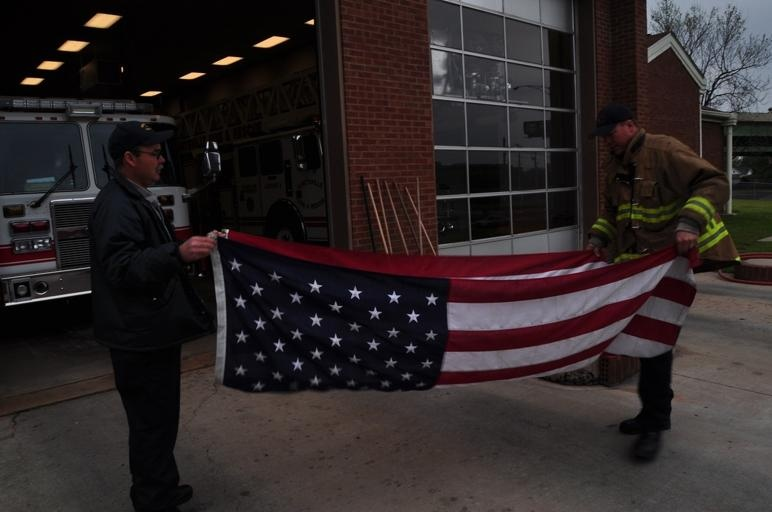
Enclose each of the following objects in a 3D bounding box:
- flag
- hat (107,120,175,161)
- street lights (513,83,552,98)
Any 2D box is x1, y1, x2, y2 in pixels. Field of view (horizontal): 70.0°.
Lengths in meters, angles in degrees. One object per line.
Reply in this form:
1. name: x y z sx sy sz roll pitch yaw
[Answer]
1. flag: 1.056 0.533 5.797 5.370 1.562 0.276 0 -7 -16
2. hat: -2.215 -1.013 4.914 0.600 0.245 0.354 -22 -2 -23
3. street lights: 3.148 -3.731 12.272 1.268 0.246 0.037 -7 10 -38
